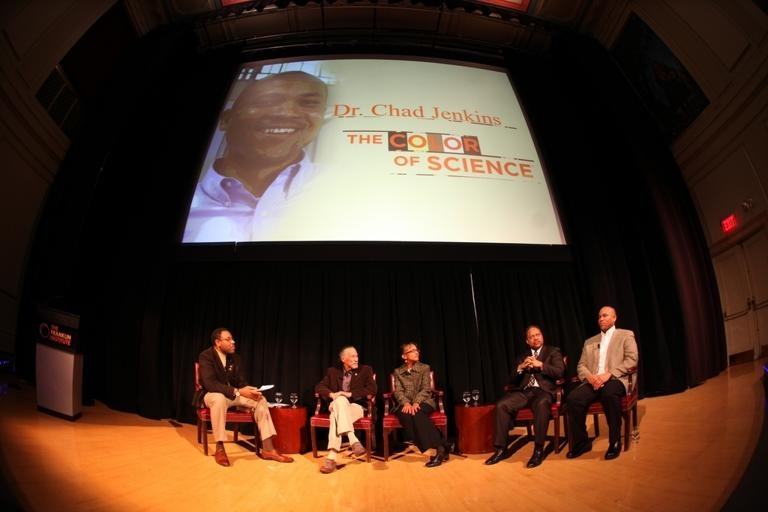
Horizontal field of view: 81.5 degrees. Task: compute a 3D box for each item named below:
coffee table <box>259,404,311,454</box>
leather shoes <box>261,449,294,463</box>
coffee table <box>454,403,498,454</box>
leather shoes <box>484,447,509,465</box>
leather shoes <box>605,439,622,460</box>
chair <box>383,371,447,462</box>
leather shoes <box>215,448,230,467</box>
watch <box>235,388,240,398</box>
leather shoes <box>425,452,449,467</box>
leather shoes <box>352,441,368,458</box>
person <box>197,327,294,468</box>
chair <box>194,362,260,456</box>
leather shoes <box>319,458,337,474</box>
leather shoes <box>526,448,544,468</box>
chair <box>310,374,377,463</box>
[{"bbox_3d":[-0.705,1.297,3.395,0.319,0.326,0.289,-3,-8,7],"label":"coffee table"},{"bbox_3d":[-0.729,1.361,3.064,0.236,0.081,0.089,3,-16,-2],"label":"leather shoes"},{"bbox_3d":[0.650,1.248,3.242,0.298,0.289,0.270,-8,-19,29],"label":"coffee table"},{"bbox_3d":[0.749,1.305,2.942,0.207,0.082,0.068,-1,-10,-37],"label":"leather shoes"},{"bbox_3d":[1.403,1.174,2.716,0.057,0.070,0.165,-9,-4,39],"label":"leather shoes"},{"bbox_3d":[0.210,1.188,3.432,0.478,0.659,0.504,2,-20,-11],"label":"chair"},{"bbox_3d":[-1.042,1.303,2.878,0.055,0.066,0.161,9,-11,-31],"label":"leather shoes"},{"bbox_3d":[-1.052,0.988,3.215,0.037,0.055,0.013,4,-1,5],"label":"watch"},{"bbox_3d":[0.362,1.358,3.002,0.152,0.070,0.187,-2,-8,11],"label":"leather shoes"},{"bbox_3d":[-0.160,1.323,3.033,0.075,0.066,0.156,1,-21,-16],"label":"leather shoes"},{"bbox_3d":[-1.029,0.965,3.162,0.542,0.882,0.533,3,-9,-23],"label":"person"},{"bbox_3d":[-1.143,1.117,3.219,0.421,0.726,0.485,10,-28,-27],"label":"chair"},{"bbox_3d":[-0.353,1.365,2.891,0.057,0.052,0.129,-4,-22,8],"label":"leather shoes"},{"bbox_3d":[0.953,1.276,2.805,0.057,0.064,0.172,-7,-12,30],"label":"leather shoes"},{"bbox_3d":[-0.226,1.231,3.331,0.470,0.780,0.566,-4,-31,8],"label":"chair"}]
